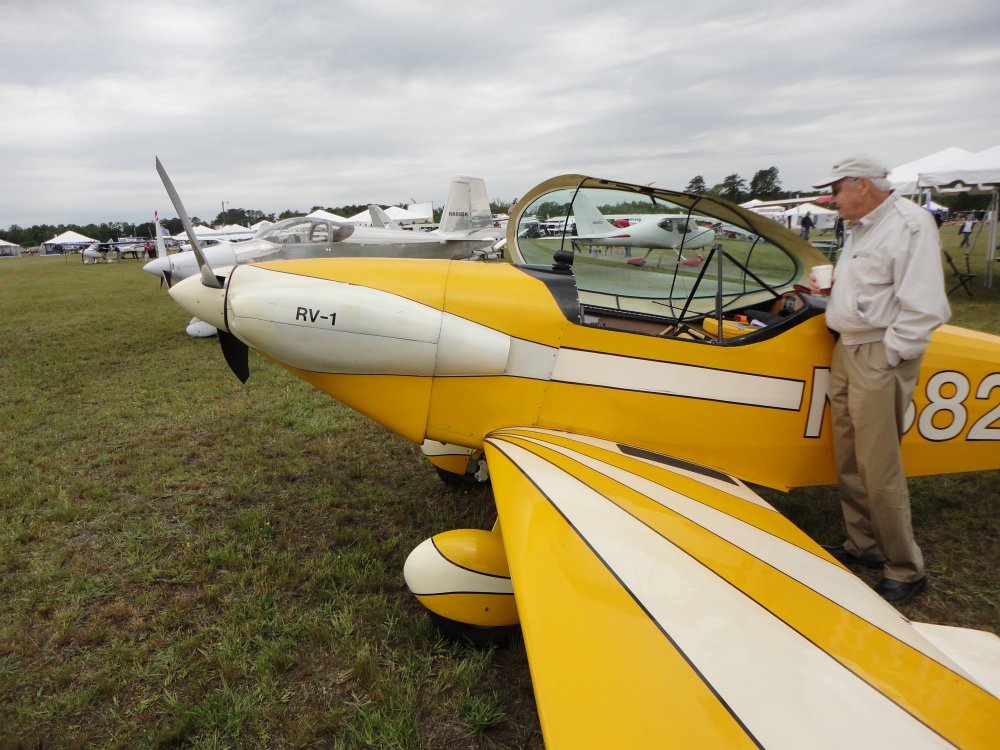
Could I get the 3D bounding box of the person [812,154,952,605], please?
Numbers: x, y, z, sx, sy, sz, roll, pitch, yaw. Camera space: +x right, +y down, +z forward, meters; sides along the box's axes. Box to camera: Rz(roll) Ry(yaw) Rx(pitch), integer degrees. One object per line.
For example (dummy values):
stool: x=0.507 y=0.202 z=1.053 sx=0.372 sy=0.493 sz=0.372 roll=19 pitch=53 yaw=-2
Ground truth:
person: x=2.217 y=0.036 z=3.757 sx=0.515 sy=2.560 sz=0.846 roll=-5 pitch=19 yaw=0

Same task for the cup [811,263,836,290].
cup: x=1.988 y=-0.602 z=3.964 sx=0.170 sy=0.141 sz=0.168 roll=-2 pitch=5 yaw=0
